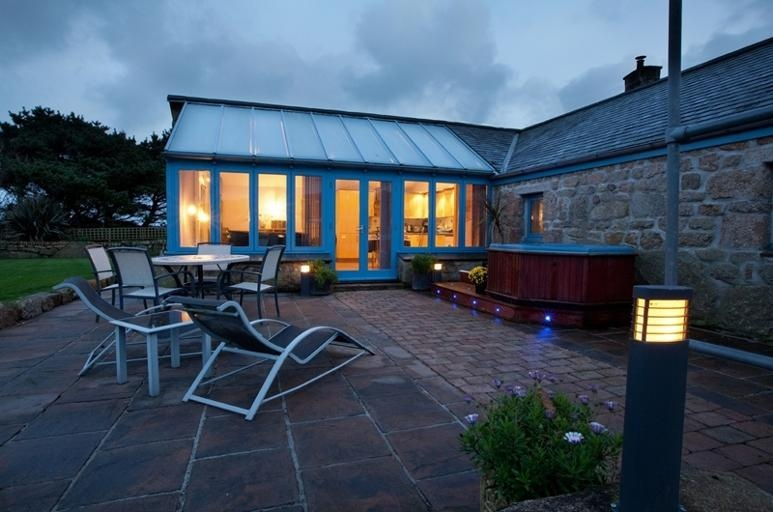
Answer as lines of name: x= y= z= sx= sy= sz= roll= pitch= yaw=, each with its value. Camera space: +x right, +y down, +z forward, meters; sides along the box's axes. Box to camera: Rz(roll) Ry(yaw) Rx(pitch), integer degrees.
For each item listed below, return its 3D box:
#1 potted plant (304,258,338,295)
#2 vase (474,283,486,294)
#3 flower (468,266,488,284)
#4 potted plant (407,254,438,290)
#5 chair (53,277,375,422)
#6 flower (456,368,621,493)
potted plant: x=-1.418 y=0.398 z=9.584 sx=0.782 sy=0.783 sz=0.679 roll=0 pitch=-2 yaw=-10
vase: x=1.763 y=0.581 z=8.226 sx=0.165 sy=0.185 sz=0.166 roll=-1 pitch=1 yaw=0
flower: x=1.732 y=0.331 z=8.243 sx=0.320 sy=0.325 sz=0.317 roll=-1 pitch=0 yaw=-12
potted plant: x=0.735 y=0.302 z=10.217 sx=0.822 sy=1.008 sz=0.684 roll=1 pitch=1 yaw=-4
chair: x=-1.818 y=0.840 z=5.083 sx=2.781 sy=1.092 sz=1.757 roll=4 pitch=7 yaw=22
flower: x=1.058 y=1.263 z=3.118 sx=0.929 sy=0.516 sz=0.908 roll=-2 pitch=6 yaw=-1
